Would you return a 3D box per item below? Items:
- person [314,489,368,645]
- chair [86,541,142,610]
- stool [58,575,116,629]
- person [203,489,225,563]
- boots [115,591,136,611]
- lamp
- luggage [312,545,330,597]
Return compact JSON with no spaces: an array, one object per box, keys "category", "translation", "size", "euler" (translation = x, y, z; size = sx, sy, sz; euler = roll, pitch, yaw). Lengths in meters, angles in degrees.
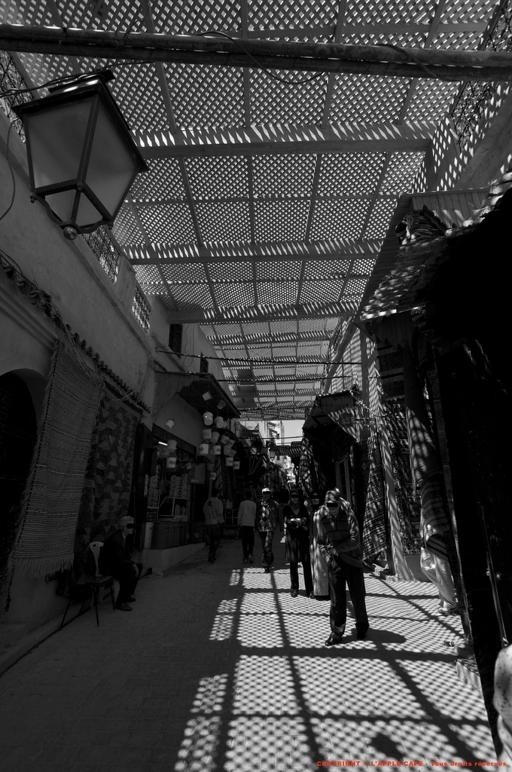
[{"category":"person","translation":[0.824,1.662,4.083],"size":[0.428,1.312,0.642],"euler":[-2,-12,12]},{"category":"chair","translation":[-1.607,2.073,5.051],"size":[0.410,0.965,0.378],"euler":[5,-12,-1]},{"category":"stool","translation":[-1.826,2.220,4.726],"size":[0.435,0.687,0.654],"euler":[-1,-20,0]},{"category":"person","translation":[-0.913,3.030,9.197],"size":[0.362,1.276,1.566],"euler":[1,-14,-6]},{"category":"boots","translation":[-1.569,2.520,5.012],"size":[0.340,0.176,0.127],"euler":[-12,-15,31]},{"category":"lamp","translation":[-0.791,-0.980,1.951],"size":[0.394,0.727,0.509],"euler":[-2,-13,11]},{"category":"luggage","translation":[0.782,2.276,5.359],"size":[0.117,0.647,0.152],"euler":[12,-20,-43]}]
